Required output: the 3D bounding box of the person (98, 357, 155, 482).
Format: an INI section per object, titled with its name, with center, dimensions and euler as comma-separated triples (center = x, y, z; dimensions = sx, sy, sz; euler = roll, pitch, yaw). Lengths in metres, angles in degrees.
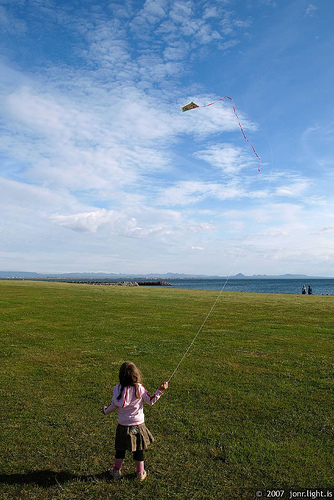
[person]
center = -0.708, 2.942, 5.958
dimensions = 0.981, 2.022, 0.789
euler = 2, 3, 17
